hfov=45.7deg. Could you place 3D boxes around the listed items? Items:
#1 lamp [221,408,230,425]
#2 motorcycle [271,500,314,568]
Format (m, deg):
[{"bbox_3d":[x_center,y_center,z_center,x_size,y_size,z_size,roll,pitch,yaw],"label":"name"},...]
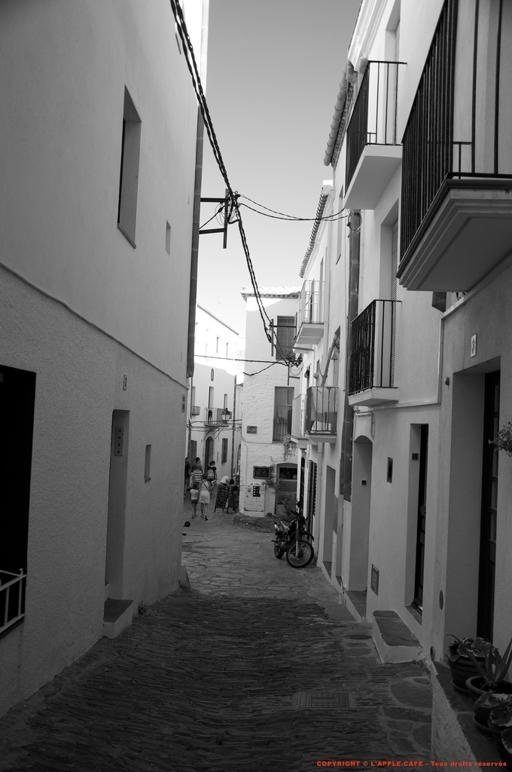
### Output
[{"bbox_3d":[-2.170,2.181,42.713,0.524,1.339,0.751,-1,-7,16],"label":"lamp"},{"bbox_3d":[0.944,3.798,14.665,0.544,1.503,1.711,4,-14,-11],"label":"motorcycle"}]
